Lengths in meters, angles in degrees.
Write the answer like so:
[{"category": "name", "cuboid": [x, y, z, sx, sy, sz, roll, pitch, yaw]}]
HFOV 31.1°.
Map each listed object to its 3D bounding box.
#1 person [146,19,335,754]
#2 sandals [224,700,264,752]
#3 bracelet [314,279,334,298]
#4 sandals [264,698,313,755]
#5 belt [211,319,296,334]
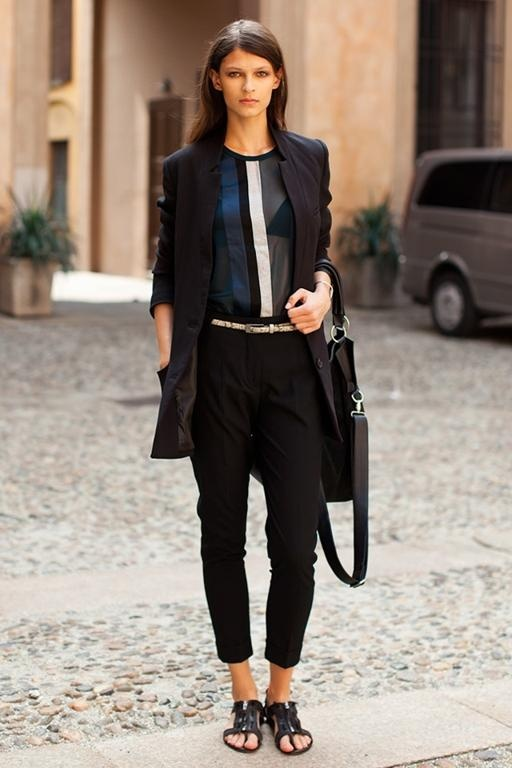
[{"category": "person", "cuboid": [-0.024, 0.014, 1.783, 0.366, 1.374, 0.239, 1, 6, -7]}, {"category": "sandals", "cuboid": [-0.034, 0.669, 1.784, 0.043, 0.045, 0.114, 0, -3, 4]}, {"category": "bracelet", "cuboid": [0.131, -0.190, 1.794, 0.021, 0.045, 0.034, -13, -2, 8]}, {"category": "sandals", "cuboid": [0.057, 0.673, 1.816, 0.046, 0.045, 0.120, -4, 11, -16]}, {"category": "belt", "cuboid": [-0.008, -0.103, 1.680, 0.150, 0.028, 0.028, 1, 6, -5]}]
